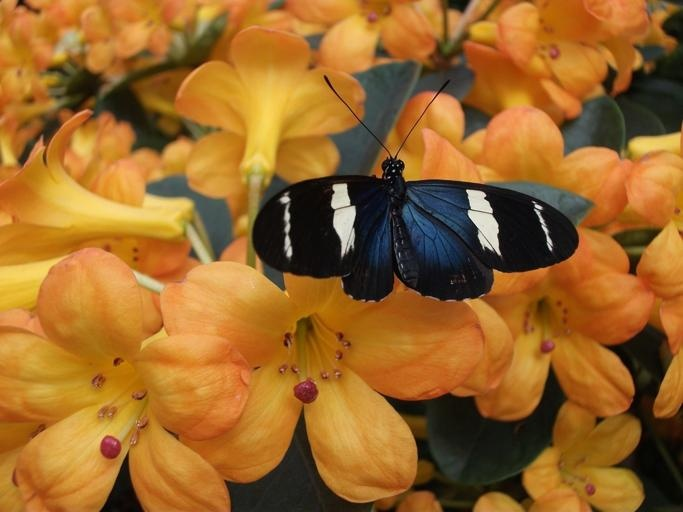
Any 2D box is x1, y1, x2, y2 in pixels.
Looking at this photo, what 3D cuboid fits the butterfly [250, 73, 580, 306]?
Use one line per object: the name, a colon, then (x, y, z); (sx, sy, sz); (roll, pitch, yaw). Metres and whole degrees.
butterfly: (0.071, -0.069, 0.998); (0.422, 0.389, 0.110); (-3, 39, 20)
